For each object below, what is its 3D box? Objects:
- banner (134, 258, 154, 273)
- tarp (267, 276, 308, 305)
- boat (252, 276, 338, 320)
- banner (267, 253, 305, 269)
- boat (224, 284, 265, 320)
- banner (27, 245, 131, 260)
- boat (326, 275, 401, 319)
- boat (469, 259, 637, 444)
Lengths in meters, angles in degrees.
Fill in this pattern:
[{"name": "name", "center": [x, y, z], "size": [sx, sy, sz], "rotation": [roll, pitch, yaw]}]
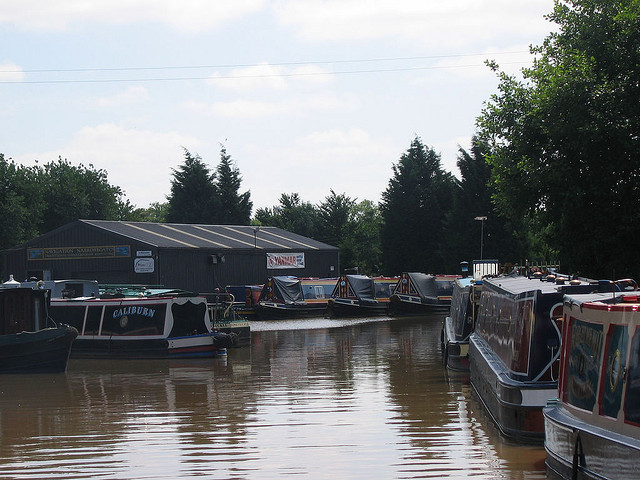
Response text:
[{"name": "banner", "center": [-9.124, 1.286, 59.656], "size": [1.329, 0.749, 0.304], "rotation": [3, 6, 41]}, {"name": "tarp", "center": [-1.535, 2.708, 60.492], "size": [0.887, 1.620, 2.519], "rotation": [1, 4, 21]}, {"name": "boat", "center": [-1.885, 3.103, 61.384], "size": [4.208, 2.133, 2.718], "rotation": [-5, -1, 23]}, {"name": "banner", "center": [-2.066, 1.208, 69.627], "size": [0.143, 1.079, 3.611], "rotation": [3, 5, 34]}, {"name": "boat", "center": [-4.136, 3.244, 60.109], "size": [2.470, 1.507, 1.714], "rotation": [3, 3, 38]}, {"name": "banner", "center": [-13.175, 0.639, 62.381], "size": [7.479, 1.046, 0.333], "rotation": [2, 5, 33]}, {"name": "boat", "center": [2.270, 3.142, 63.462], "size": [2.768, 2.442, 3.664], "rotation": [-1, -4, -44]}, {"name": "boat", "center": [5.017, 2.668, 27.404], "size": [4.518, 3.646, 3.877], "rotation": [-2, 0, 19]}]
